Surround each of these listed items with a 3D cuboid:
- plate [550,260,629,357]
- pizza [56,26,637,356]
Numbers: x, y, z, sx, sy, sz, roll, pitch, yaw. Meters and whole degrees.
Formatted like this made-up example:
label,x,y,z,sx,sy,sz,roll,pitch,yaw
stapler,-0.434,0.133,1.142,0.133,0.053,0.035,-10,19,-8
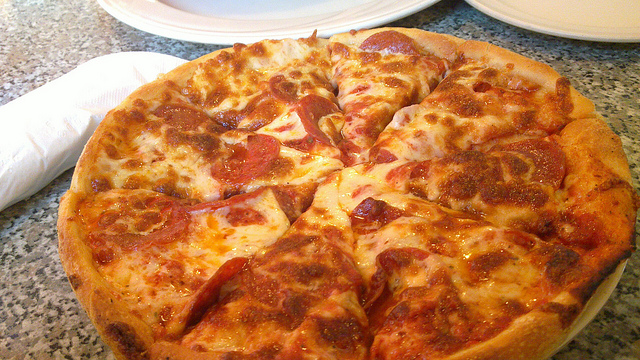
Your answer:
label,x,y,z,sx,sy,sz,roll,pitch,yaw
plate,0.682,0.330,1.275,0.455,0.036,0.063,-30,53,-27
pizza,0.078,0.000,1.521,1.639,0.514,1.050,-10,81,1
